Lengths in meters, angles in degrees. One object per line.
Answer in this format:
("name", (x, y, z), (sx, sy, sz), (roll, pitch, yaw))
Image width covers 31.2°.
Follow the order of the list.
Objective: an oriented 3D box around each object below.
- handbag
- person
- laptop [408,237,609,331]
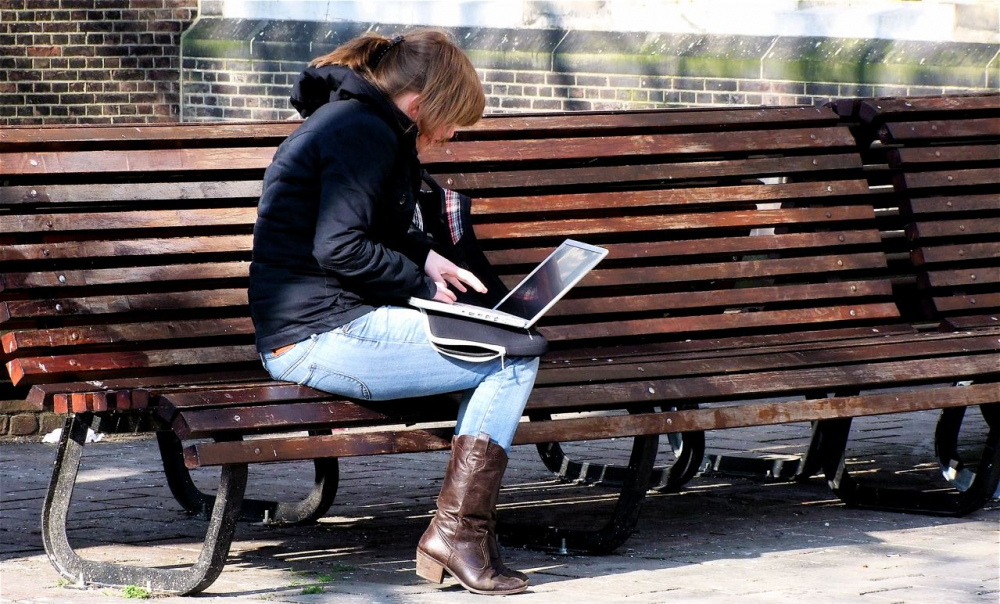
("handbag", (-0.072, 0.166, 7.876), (0.347, 0.070, 0.312), (6, 6, -20))
("person", (-0.482, 0.046, 8.010), (1.244, 2.469, 0.568), (0, 10, 3))
("laptop", (0.031, -0.163, 7.998), (0.540, 0.332, 0.532), (-41, 13, 2))
